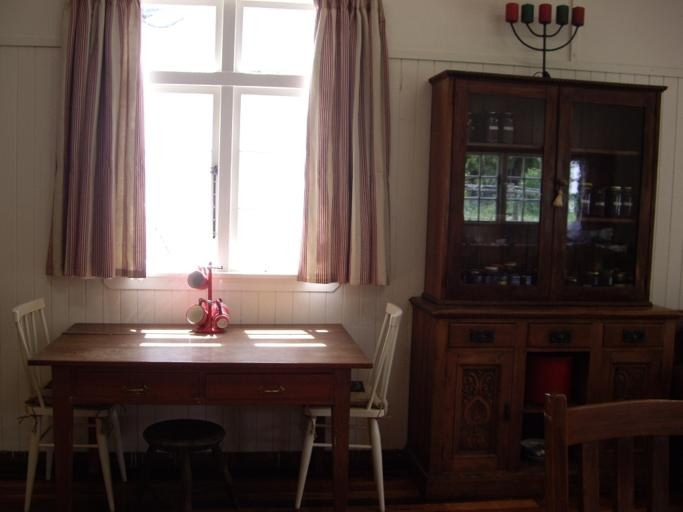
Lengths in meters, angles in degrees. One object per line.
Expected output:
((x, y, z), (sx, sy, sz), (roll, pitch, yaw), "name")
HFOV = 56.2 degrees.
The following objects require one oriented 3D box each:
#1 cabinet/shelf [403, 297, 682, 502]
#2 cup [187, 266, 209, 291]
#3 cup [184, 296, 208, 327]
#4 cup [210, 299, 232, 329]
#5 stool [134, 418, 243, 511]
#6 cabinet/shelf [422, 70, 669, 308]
((1.082, 0.756, 3.442), (1.108, 0.900, 0.450), (0, 3, -4), "cabinet/shelf")
((-0.860, 0.136, 3.831), (0.121, 0.117, 0.123), (0, 5, 0), "cup")
((-0.850, 0.337, 3.804), (0.107, 0.184, 0.121), (8, 6, 14), "cup")
((-0.727, 0.346, 3.809), (0.071, 0.141, 0.140), (-6, 13, -17), "cup")
((-0.836, 1.060, 3.608), (0.503, 0.459, 0.499), (0, -4, 31), "stool")
((1.185, -0.382, 3.797), (1.322, 1.412, 0.498), (1, 2, -7), "cabinet/shelf")
